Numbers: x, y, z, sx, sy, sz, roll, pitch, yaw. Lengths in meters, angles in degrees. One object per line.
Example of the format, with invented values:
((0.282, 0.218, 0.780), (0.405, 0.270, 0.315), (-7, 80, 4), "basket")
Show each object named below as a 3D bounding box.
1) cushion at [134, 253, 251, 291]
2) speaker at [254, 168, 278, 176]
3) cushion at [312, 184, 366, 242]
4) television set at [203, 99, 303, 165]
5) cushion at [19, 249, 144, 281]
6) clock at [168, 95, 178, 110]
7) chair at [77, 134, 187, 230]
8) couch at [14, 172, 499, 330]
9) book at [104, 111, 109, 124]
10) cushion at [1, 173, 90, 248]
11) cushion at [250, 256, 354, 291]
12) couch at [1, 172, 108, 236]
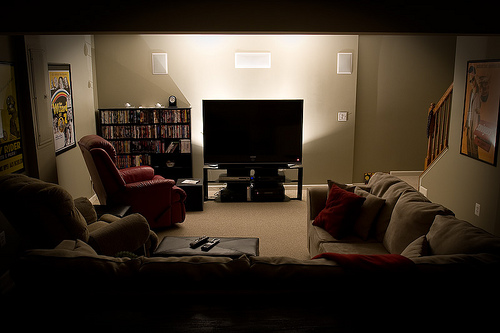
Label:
((-0.377, 0.703, 2.404), (0.743, 0.169, 0.134), (0, 15, -1), "cushion")
((0.286, 0.096, 6.449), (0.413, 0.134, 0.106), (-3, 15, -13), "speaker")
((0.953, 0.485, 3.889), (0.155, 0.486, 0.508), (26, 4, -18), "cushion")
((0.051, -0.581, 6.344), (1.703, 1.079, 0.226), (-1, 15, -4), "television set")
((-1.100, 0.637, 2.417), (0.780, 0.162, 0.188), (0, 15, -1), "cushion")
((-1.402, -1.139, 6.595), (0.228, 0.300, 0.228), (0, -1, -7), "clock")
((-1.713, 0.221, 5.395), (1.408, 1.249, 1.120), (-3, 11, -38), "chair")
((0.113, 0.861, 3.377), (3.324, 1.079, 2.204), (0, 15, -2), "couch")
((-2.552, -0.862, 6.483), (0.072, 0.223, 0.020), (-2, 15, -5), "book")
((-1.924, 0.432, 3.372), (0.745, 0.708, 0.407), (4, 23, 40), "cushion")
((0.336, 0.711, 2.406), (0.671, 0.153, 0.132), (1, 15, 2), "cushion")
((-1.820, 0.254, 3.341), (0.942, 0.648, 0.519), (11, 14, 23), "couch")
